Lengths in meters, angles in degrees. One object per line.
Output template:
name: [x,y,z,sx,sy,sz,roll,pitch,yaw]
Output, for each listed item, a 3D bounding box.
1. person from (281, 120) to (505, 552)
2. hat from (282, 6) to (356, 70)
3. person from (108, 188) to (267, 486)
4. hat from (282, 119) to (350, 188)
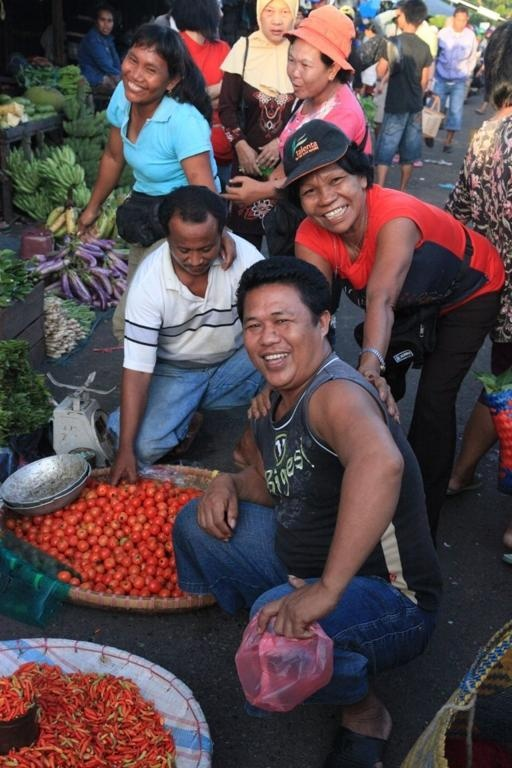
person: [0.471,-0.140,2.479,0.765,1.554,0.724,8,26,5]
hat: [0.311,-1.594,2.958,0.309,0.221,0.346,-3,40,-10]
person: [-0.311,-0.237,3.013,0.688,1.266,0.616,0,27,-18]
hat: [0.173,-0.738,2.126,0.239,0.228,0.201,17,41,14]
